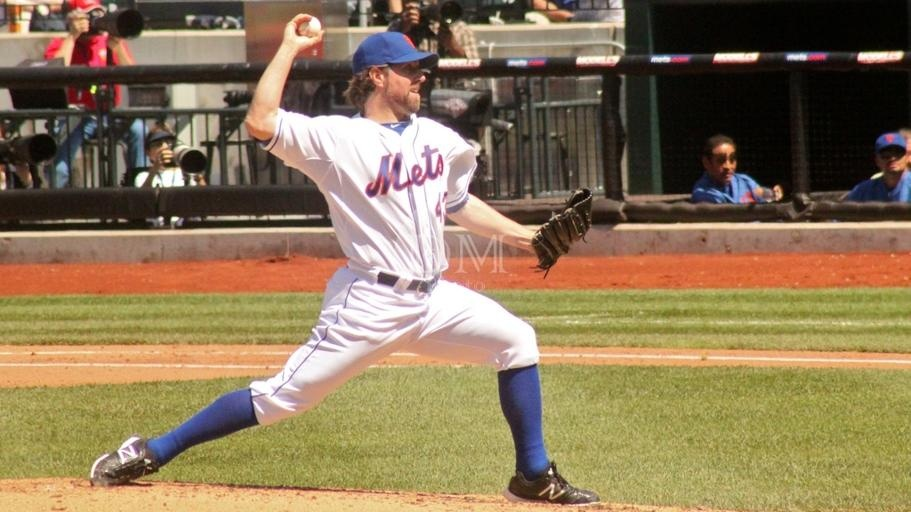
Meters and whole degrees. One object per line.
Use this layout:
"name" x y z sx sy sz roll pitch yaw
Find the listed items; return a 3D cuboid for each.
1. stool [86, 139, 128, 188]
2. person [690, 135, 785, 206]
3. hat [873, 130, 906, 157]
"stool" -5.616 -1.498 34.418 0.746 0.723 0.731 -9 -1 11
"person" 4.270 -1.198 33.421 1.313 1.047 1.513 -12 23 -20
"hat" 6.509 -1.721 33.264 0.469 0.320 0.737 -1 -9 9
